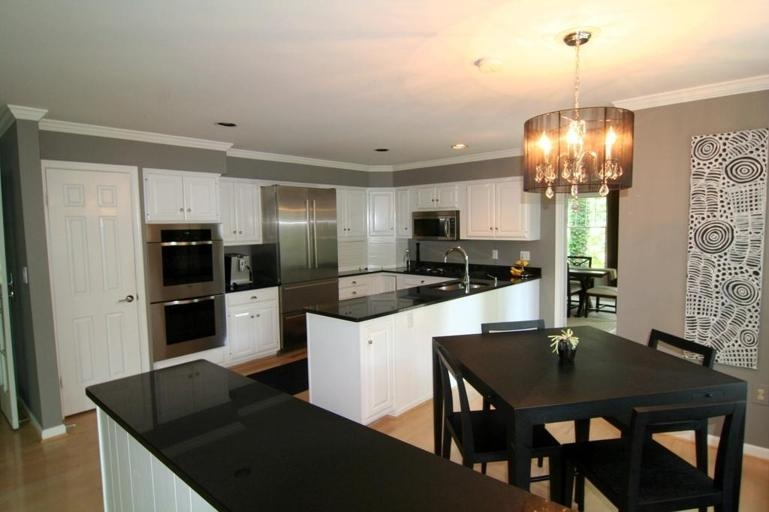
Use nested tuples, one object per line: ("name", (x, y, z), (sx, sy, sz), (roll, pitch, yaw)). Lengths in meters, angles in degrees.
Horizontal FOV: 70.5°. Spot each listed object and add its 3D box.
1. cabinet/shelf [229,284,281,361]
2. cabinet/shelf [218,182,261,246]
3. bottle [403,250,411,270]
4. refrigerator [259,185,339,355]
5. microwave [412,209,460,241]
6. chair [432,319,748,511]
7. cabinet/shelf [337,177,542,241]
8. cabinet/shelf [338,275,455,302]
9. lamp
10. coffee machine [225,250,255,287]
("cabinet/shelf", (-1.824, 0.840, 7.002), (0.499, 0.923, 0.741), (5, 9, 40))
("cabinet/shelf", (-1.880, -0.562, 6.938), (0.291, 0.761, 0.833), (5, 8, 40))
("bottle", (0.366, 0.034, 8.622), (0.109, 0.297, 0.153), (-4, 5, -4))
("refrigerator", (-1.196, 0.071, 7.629), (1.028, 2.021, 0.671), (-6, 11, -35))
("microwave", (0.773, -0.434, 7.961), (0.713, 0.433, 0.439), (0, 0, 44))
("chair", (1.403, 1.158, 3.994), (2.069, 1.036, 1.178), (-3, 5, 2))
("cabinet/shelf", (0.803, -0.650, 7.842), (2.822, 0.904, 0.794), (-2, 5, 20))
("cabinet/shelf", (0.041, 0.398, 8.038), (1.313, 0.330, 0.672), (-3, 4, 10))
("lamp", (1.390, -1.036, 3.971), (0.715, 1.188, 0.542), (-6, 6, -20))
("coffee machine", (-1.987, 0.181, 7.226), (0.403, 0.391, 0.373), (0, 4, 16))
